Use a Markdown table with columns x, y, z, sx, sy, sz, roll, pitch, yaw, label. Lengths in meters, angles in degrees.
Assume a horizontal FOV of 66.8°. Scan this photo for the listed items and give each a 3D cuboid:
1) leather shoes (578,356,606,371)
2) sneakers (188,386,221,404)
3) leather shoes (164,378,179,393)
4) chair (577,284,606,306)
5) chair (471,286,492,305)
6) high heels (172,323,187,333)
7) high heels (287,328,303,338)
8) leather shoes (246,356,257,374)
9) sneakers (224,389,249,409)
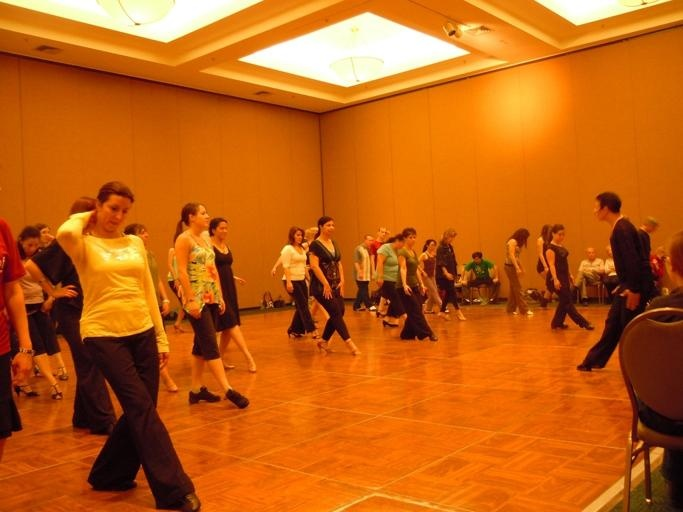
| x | y | z | sx | sy | sz | roll | pitch | yaw | label |
| --- | --- | --- | --- | --- | --- | --- | --- | --- | --- |
| 2.969 | 1.272 | 6.118 | 0.282 | 0.134 | 0.137 | 0 | 1 | 5 | leather shoes |
| -1.516 | 1.533 | 5.735 | 0.327 | 0.192 | 0.157 | 0 | 1 | -11 | sneakers |
| -2.067 | 1.582 | 6.322 | 0.116 | 0.093 | 0.281 | 9 | 11 | -12 | leather shoes |
| 6.140 | 0.928 | 12.629 | 0.628 | 0.654 | 0.519 | -2 | -10 | 14 | chair |
| 3.947 | 1.091 | 14.398 | 0.472 | 0.681 | 0.482 | -1 | -9 | 9 | chair |
| -3.596 | 1.619 | 11.491 | 0.160 | 0.219 | 0.490 | 4 | -18 | -36 | high heels |
| -0.879 | 1.499 | 10.039 | 0.389 | 0.188 | 0.124 | -8 | 1 | -9 | high heels |
| -1.254 | 1.528 | 7.197 | 0.145 | 0.206 | 0.489 | 1 | -14 | -11 | leather shoes |
| -1.071 | 1.475 | 5.398 | 0.289 | 0.143 | 0.130 | 36 | -9 | 12 | sneakers |
